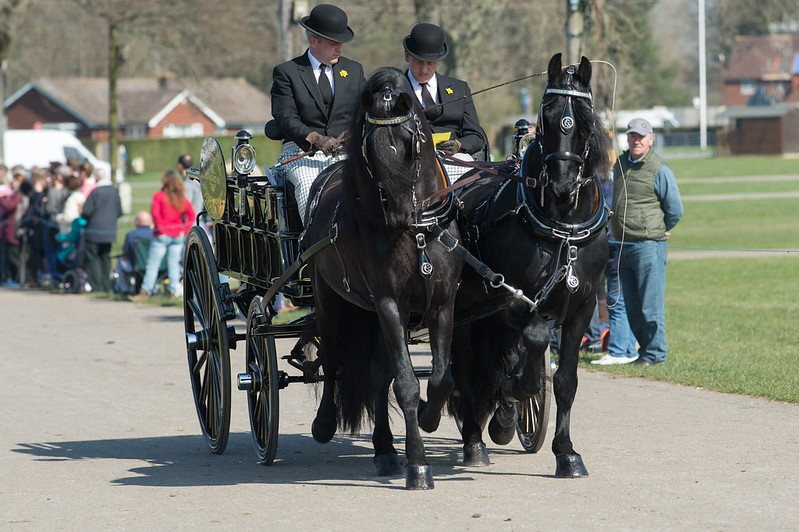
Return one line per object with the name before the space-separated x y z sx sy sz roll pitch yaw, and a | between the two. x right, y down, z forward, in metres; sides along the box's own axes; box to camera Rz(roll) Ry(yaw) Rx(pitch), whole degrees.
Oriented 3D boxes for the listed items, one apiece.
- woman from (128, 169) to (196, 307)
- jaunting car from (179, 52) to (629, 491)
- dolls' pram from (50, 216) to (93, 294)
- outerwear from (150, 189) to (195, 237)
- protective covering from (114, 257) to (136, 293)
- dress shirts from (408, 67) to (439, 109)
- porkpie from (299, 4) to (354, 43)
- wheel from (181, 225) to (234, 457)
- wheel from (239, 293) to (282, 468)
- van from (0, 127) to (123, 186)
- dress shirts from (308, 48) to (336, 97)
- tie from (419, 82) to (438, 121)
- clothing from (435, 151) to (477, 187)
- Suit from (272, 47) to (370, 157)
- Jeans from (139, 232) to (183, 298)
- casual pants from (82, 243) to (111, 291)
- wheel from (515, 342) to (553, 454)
woman | -3.820 -0.493 32.964 0.945 2.129 0.714 1 10 -25
jaunting car | -0.303 0.209 25.269 3.961 3.819 5.609 0 -4 -17
dolls' pram | -5.644 -0.149 35.055 0.532 1.269 1.349 3 5 12
outerwear | -3.612 -0.819 32.398 0.753 0.733 0.451 -3 8 -20
protective covering | -4.638 0.130 34.140 0.327 0.613 0.437 -8 24 -13
dress shirts | 0.337 -2.161 24.676 0.350 0.490 0.173 -8 9 -15
porkpie | -0.873 -2.859 24.663 0.525 0.196 0.477 23 37 -1
wheel | -2.369 0.961 25.233 0.614 2.464 2.440 -3 9 -10
wheel | -1.690 1.434 24.675 0.525 1.770 1.750 -3 11 -14
van | -6.427 -2.160 38.377 2.285 1.233 1.239 -2 4 -5
dress shirts | -0.963 -2.377 24.914 0.301 0.523 0.132 0 2 -11
tie | 0.381 -1.986 24.786 0.126 0.406 0.290 -29 -4 38
clothing | 0.695 -1.168 24.536 0.453 0.139 0.337 10 13 -8
Suit | -0.894 -1.804 24.885 1.272 1.668 1.007 4 -5 -24
Jeans | -3.801 -0.116 33.088 0.681 1.319 0.406 1 22 -17
casual pants | -5.115 -0.020 34.495 0.439 0.970 0.517 -4 15 -10
wheel | 1.607 1.549 24.270 0.127 0.993 0.982 3 -37 -14
